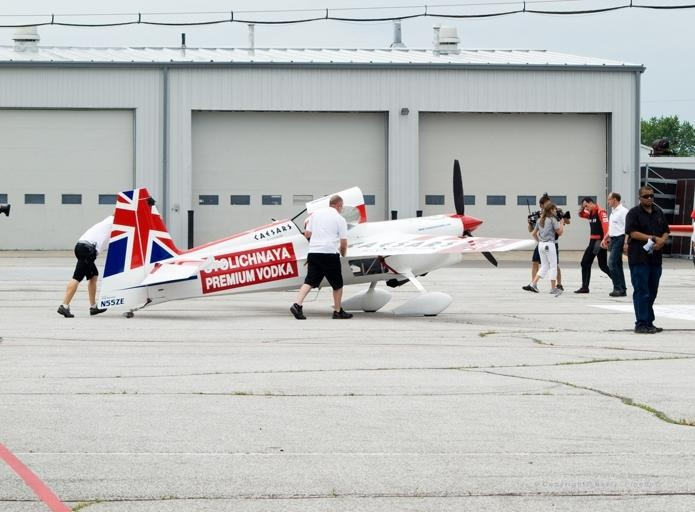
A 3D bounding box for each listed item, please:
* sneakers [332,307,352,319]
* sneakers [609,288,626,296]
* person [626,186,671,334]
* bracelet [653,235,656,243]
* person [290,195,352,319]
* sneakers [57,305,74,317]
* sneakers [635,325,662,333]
[{"bbox_3d":[-0.120,1.116,27.846,0.471,0.193,0.156,-1,3,-12],"label":"sneakers"},{"bbox_3d":[5.921,0.769,31.072,0.399,0.144,0.137,3,1,5],"label":"sneakers"},{"bbox_3d":[5.563,0.034,26.444,0.771,2.696,0.782,1,5,10],"label":"person"},{"bbox_3d":[5.675,-0.340,26.324,0.077,0.101,0.047,2,5,16],"label":"bracelet"},{"bbox_3d":[-0.506,0.009,27.596,1.098,2.395,0.527,0,5,-2],"label":"person"},{"bbox_3d":[-5.568,1.040,27.698,0.315,0.239,0.419,0,4,-11],"label":"sneakers"},{"bbox_3d":[5.520,1.328,26.287,0.529,0.198,0.165,-3,2,-1],"label":"sneakers"}]
